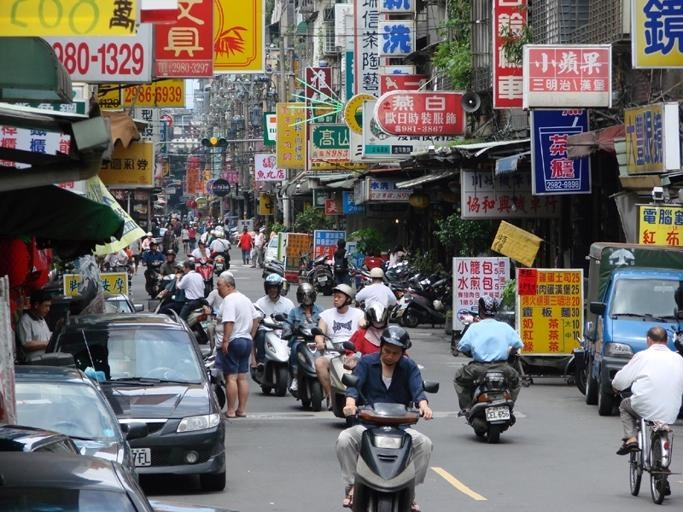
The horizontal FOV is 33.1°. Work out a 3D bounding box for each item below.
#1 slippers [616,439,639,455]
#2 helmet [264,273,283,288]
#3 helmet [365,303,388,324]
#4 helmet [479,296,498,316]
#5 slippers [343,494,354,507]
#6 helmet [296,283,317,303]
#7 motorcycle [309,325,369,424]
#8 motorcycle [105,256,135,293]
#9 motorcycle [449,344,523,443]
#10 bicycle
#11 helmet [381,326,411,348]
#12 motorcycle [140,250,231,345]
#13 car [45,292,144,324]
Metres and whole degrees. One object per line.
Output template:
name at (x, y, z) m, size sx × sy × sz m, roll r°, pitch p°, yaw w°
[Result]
slippers at (3.104, 2.099, 12.586) m, size 0.110 × 0.150 × 0.334 m, roll 2°, pitch -12°, yaw -17°
helmet at (-1.119, 0.372, 18.468) m, size 0.197 × 0.222 × 0.267 m, roll -1°, pitch -22°, yaw 6°
helmet at (0.369, 0.604, 12.395) m, size 0.174 × 0.220 × 0.234 m, roll 0°, pitch -6°, yaw -12°
helmet at (2.006, 0.672, 15.708) m, size 0.199 × 0.271 × 0.269 m, roll 1°, pitch 11°, yaw -6°
slippers at (0.059, 2.321, 10.888) m, size 0.090 × 0.051 × 0.154 m, roll 1°, pitch -5°, yaw 1°
helmet at (-0.558, 0.562, 17.750) m, size 0.240 × 0.288 × 0.337 m, roll 0°, pitch 6°, yaw 5°
motorcycle at (0.046, 1.596, 15.090) m, size 0.740 × 0.979 × 1.354 m, roll 1°, pitch -3°, yaw -5°
motorcycle at (-7.122, 0.448, 36.245) m, size 1.149 × 1.201 × 1.779 m, roll 0°, pitch -5°, yaw -3°
motorcycle at (1.920, 1.956, 15.176) m, size 0.581 × 0.904 × 1.418 m, roll 1°, pitch -3°, yaw -3°
bicycle at (3.345, 2.224, 12.476) m, size 0.375 × 1.120 × 0.752 m, roll 10°, pitch 4°, yaw -16°
helmet at (0.496, 0.816, 10.905) m, size 0.189 × 0.262 × 0.212 m, roll 14°, pitch 46°, yaw 13°
motorcycle at (-3.231, 0.951, 24.342) m, size 1.419 × 1.842 × 2.700 m, roll -4°, pitch 13°, yaw -18°
car at (-4.529, 0.943, 21.073) m, size 1.566 × 0.835 × 0.958 m, roll -2°, pitch 7°, yaw 1°
